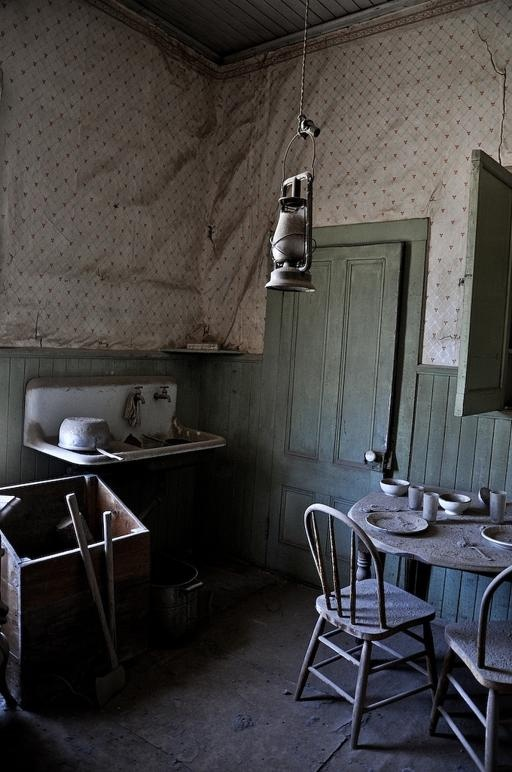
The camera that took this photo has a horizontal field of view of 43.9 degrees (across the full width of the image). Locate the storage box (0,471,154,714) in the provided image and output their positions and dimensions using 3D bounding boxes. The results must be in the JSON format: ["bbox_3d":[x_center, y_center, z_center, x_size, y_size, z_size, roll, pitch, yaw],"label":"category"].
[{"bbox_3d":[-0.718,0.847,2.513,0.578,0.818,0.532,-8,18,-39],"label":"storage box"}]

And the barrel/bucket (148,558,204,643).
[{"bbox_3d":[-0.370,0.991,2.999,0.260,0.288,0.462,2,5,-5],"label":"barrel/bucket"}]

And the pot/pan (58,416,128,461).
[{"bbox_3d":[-0.754,0.237,2.936,0.316,0.164,0.221,2,5,1],"label":"pot/pan"}]

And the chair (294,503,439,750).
[{"bbox_3d":[0.405,0.815,2.355,0.424,0.809,0.411,-7,8,-26],"label":"chair"}]

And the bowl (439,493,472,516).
[{"bbox_3d":[0.833,0.488,2.645,0.085,0.044,0.087,1,4,0],"label":"bowl"}]

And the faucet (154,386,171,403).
[{"bbox_3d":[-0.547,0.045,3.743,0.061,0.060,0.092,-1,-3,39],"label":"faucet"}]
